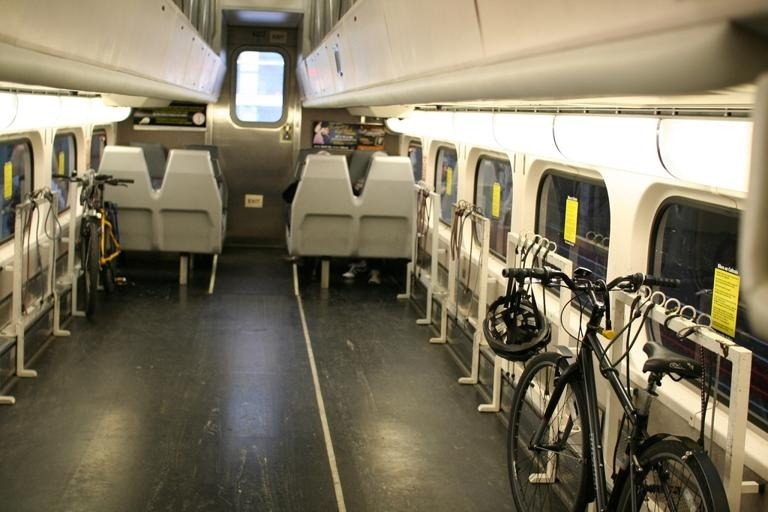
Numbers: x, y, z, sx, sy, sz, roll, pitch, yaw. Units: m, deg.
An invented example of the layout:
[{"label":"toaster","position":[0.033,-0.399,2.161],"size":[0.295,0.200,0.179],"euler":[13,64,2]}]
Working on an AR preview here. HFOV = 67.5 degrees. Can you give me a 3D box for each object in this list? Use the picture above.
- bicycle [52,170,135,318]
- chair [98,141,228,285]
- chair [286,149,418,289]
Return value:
[{"label":"bicycle","position":[-3.660,-0.229,7.383],"size":[0.616,1.707,1.465],"euler":[0,10,-11]},{"label":"chair","position":[-3.101,-0.656,8.167],"size":[1.471,1.668,2.160],"euler":[2,13,-7]},{"label":"chair","position":[-0.544,-0.686,8.773],"size":[1.475,1.467,1.593],"euler":[1,11,-8]}]
